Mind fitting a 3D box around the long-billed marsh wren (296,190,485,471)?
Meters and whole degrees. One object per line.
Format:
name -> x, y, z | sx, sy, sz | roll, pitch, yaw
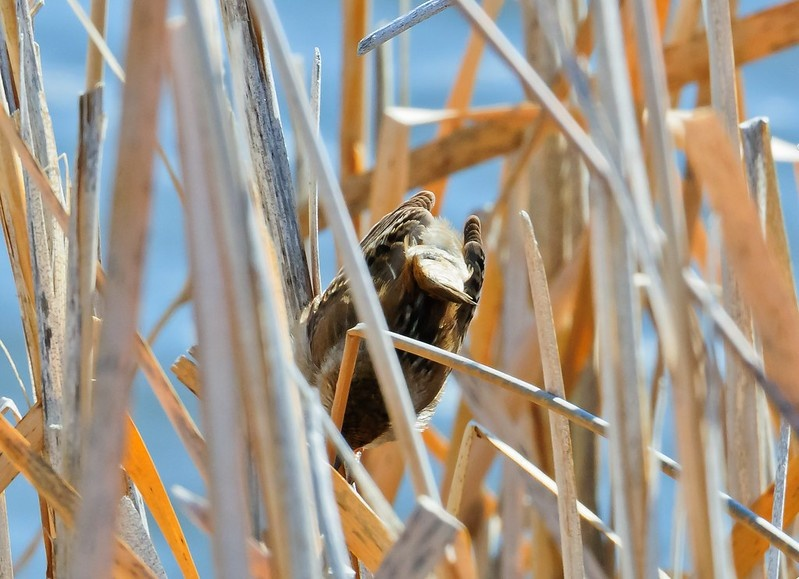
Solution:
long-billed marsh wren -> -0.001, 0.004, 1.245 | 0.118, 0.260, 0.163 | 23, 28, -14
